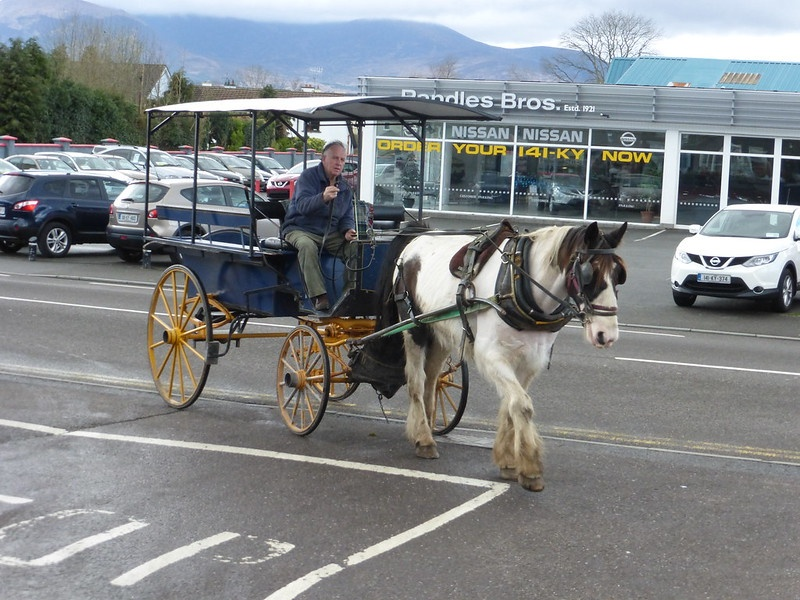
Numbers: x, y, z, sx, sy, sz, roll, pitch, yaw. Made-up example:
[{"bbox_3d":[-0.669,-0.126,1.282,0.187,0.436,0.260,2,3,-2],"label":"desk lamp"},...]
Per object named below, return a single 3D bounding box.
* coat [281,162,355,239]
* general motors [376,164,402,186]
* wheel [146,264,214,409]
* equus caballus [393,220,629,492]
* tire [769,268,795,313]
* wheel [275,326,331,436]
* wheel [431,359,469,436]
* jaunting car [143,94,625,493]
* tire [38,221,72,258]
[{"bbox_3d":[-0.828,-1.051,8.898,0.621,0.746,0.776,-2,9,-40],"label":"coat"},{"bbox_3d":[-0.449,-4.880,34.015,1.071,0.577,0.666,8,10,21],"label":"general motors"},{"bbox_3d":[-2.506,0.468,9.751,0.422,1.592,1.550,6,-6,-30],"label":"wheel"},{"bbox_3d":[0.869,0.380,7.377,2.147,2.205,0.636,10,13,41],"label":"equus caballus"},{"bbox_3d":[7.231,-0.211,16.179,0.203,0.641,0.634,0,27,42],"label":"tire"},{"bbox_3d":[-0.940,0.810,8.355,0.291,1.011,0.985,4,0,-27],"label":"wheel"},{"bbox_3d":[0.488,0.971,8.539,0.171,0.660,0.647,11,-18,-17],"label":"wheel"},{"bbox_3d":[-0.112,-0.385,9.269,2.851,3.727,6.113,-4,6,-42],"label":"jaunting car"},{"bbox_3d":[-8.458,-1.497,20.839,0.197,0.614,0.613,11,56,43],"label":"tire"}]
